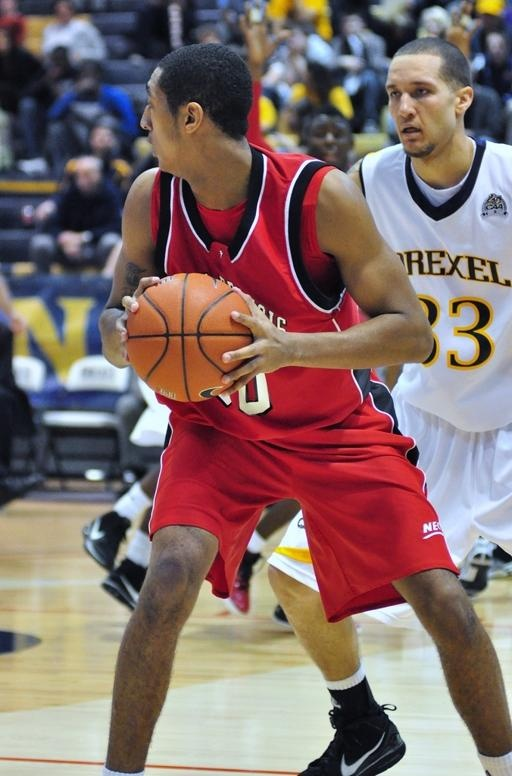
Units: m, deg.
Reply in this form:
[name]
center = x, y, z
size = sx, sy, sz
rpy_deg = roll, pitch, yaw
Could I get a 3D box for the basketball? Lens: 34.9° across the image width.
[basketball]
center = -0.086, -0.097, 1.445
size = 0.229, 0.245, 0.229
rpy_deg = 2, 8, 2

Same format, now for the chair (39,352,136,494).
[chair]
center = -1.189, 0.217, 5.865
size = 0.707, 0.773, 0.533
rpy_deg = 1, 2, 4
